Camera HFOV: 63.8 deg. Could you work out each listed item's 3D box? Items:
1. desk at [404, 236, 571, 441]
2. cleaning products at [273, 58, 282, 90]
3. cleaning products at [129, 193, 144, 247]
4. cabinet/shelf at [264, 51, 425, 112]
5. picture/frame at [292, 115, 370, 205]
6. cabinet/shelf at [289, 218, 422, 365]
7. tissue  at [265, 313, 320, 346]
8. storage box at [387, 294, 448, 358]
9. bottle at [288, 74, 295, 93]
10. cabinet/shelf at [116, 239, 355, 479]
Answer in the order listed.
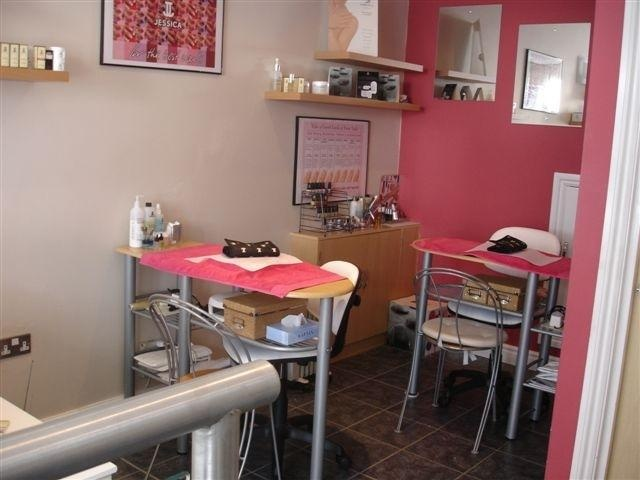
[{"bbox_3d":[1.167,0.701,3.539,0.569,0.973,1.174,-12,18,-40],"label":"desk"},{"bbox_3d":[-0.339,-1.309,4.064,0.076,0.263,0.164,2,12,-6],"label":"cleaning products"},{"bbox_3d":[-1.175,-0.121,3.325,0.104,0.325,0.098,3,7,4],"label":"cleaning products"},{"bbox_3d":[0.291,-1.383,4.500,0.409,0.448,1.726,14,16,42],"label":"cabinet/shelf"},{"bbox_3d":[0.066,-0.718,4.569,0.036,0.679,0.895,9,11,40],"label":"picture/frame"},{"bbox_3d":[0.256,0.375,3.816,1.135,0.940,0.365,-13,24,-42],"label":"cabinet/shelf"},{"bbox_3d":[-0.143,0.457,2.726,0.267,0.134,0.158,-5,14,-34],"label":"tissue "},{"bbox_3d":[0.766,0.748,4.656,0.585,0.554,0.611,5,5,41],"label":"storage box"},{"bbox_3d":[-0.230,-1.236,4.055,0.049,0.130,0.073,2,12,-5],"label":"bottle"},{"bbox_3d":[-0.553,0.636,3.041,1.535,1.036,0.613,13,15,41],"label":"cabinet/shelf"}]
